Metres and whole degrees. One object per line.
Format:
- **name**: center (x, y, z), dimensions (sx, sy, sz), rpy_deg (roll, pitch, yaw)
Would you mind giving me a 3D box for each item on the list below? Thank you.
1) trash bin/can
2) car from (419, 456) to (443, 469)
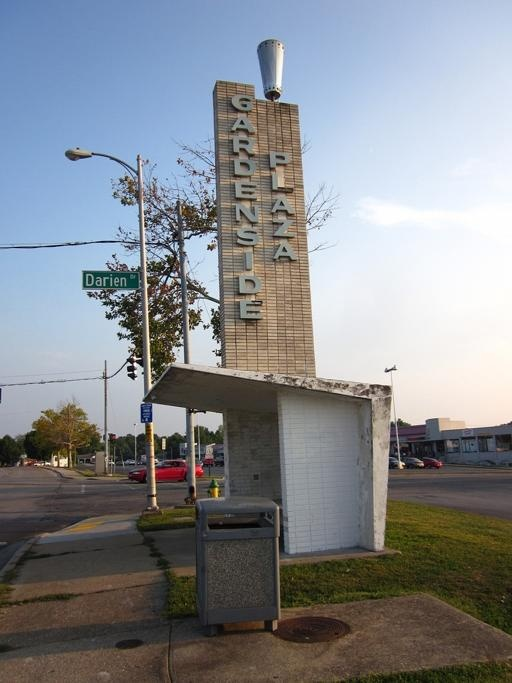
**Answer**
- **trash bin/can**: center (-0.190, 2.333, 6.739), dimensions (0.830, 1.168, 0.728), rpy_deg (0, -19, -7)
- **car**: center (16.001, 11.114, 59.910), dimensions (1.394, 0.683, 2.149), rpy_deg (1, 0, -3)
